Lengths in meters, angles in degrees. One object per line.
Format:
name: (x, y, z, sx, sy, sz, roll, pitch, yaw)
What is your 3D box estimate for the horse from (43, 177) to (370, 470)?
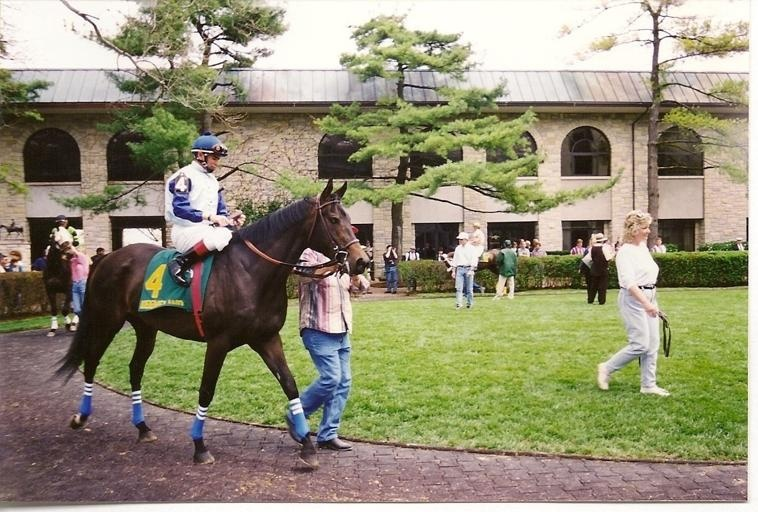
horse: (-2.562, 0.912, 11.018, 4.689, 4.141, 1.529, 3, 16, 17)

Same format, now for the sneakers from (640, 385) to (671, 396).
sneakers: (4.800, 2.352, 12.283, 0.503, 0.193, 0.174, -1, 6, 3)

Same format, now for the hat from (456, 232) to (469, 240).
hat: (2.488, -0.524, 20.352, 0.421, 0.199, 0.307, 6, 2, -6)

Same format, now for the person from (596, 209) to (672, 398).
person: (4.464, 0.835, 12.185, 1.083, 3.102, 1.004, -9, 17, -24)

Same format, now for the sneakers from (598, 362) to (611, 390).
sneakers: (4.003, 2.146, 12.592, 0.189, 0.477, 0.233, -13, 10, -43)

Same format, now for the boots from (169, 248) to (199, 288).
boots: (-3.046, 0.193, 10.820, 0.251, 0.520, 0.579, 20, 29, 19)

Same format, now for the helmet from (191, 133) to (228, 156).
helmet: (-2.700, -1.783, 11.227, 0.554, 0.322, 0.406, -6, 7, -6)

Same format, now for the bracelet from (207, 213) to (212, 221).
bracelet: (-2.598, -0.588, 10.890, 0.027, 0.084, 0.063, 2, 3, -42)

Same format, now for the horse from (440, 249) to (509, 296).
horse: (3.471, 0.365, 24.693, 2.235, 1.393, 0.533, -5, 7, -15)
